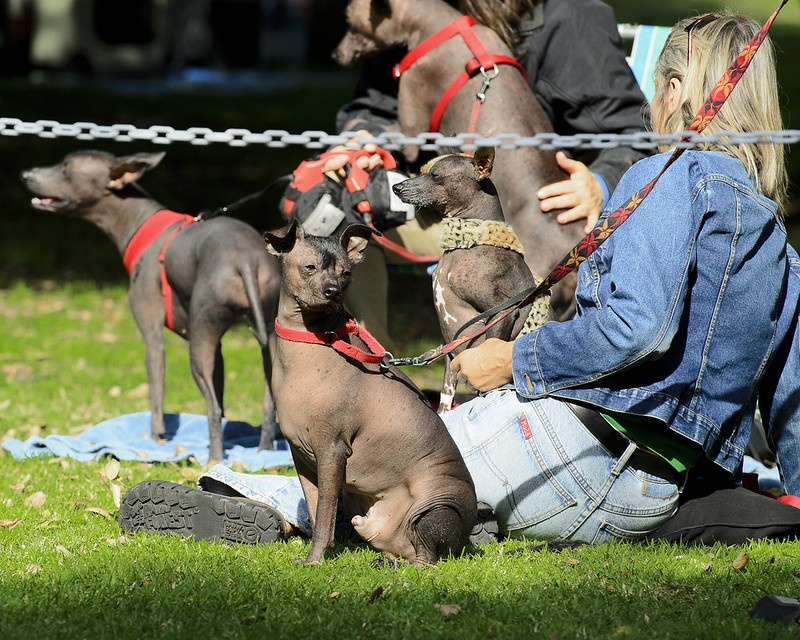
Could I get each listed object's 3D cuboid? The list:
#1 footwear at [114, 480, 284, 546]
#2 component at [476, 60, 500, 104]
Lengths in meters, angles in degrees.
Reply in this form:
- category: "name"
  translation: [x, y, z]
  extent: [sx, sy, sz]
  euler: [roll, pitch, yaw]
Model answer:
- category: "footwear"
  translation: [-0.954, 0.918, 6.482]
  extent: [0.865, 0.286, 0.326]
  euler: [10, 5, 12]
- category: "component"
  translation: [0.499, -1.341, 7.308]
  extent: [0.094, 0.234, 0.043]
  euler: [23, -7, 6]
